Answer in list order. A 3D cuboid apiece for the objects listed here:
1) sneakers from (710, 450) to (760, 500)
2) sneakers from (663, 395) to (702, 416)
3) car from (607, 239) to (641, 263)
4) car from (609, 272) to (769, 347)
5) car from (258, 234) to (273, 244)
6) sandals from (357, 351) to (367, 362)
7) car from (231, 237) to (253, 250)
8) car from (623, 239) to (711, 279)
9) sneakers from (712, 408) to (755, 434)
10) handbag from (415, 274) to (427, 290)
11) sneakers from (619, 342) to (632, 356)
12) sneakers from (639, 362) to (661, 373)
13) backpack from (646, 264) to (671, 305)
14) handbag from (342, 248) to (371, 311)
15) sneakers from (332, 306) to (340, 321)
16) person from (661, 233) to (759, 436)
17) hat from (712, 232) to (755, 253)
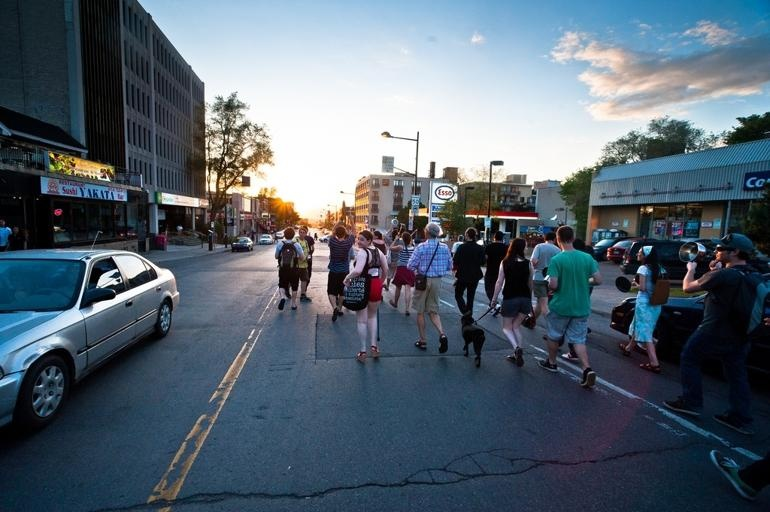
[{"bbox_3d":[4.361,2.716,6.037,0.229,0.263,0.654,7,31,-27],"label":"sneakers"},{"bbox_3d":[4.524,2.251,7.180,0.196,0.245,0.499,0,4,-36],"label":"sneakers"},{"bbox_3d":[11.568,-0.272,22.945,2.225,0.888,1.063,-5,8,-16],"label":"car"},{"bbox_3d":[5.946,1.118,9.047,3.008,1.118,1.403,2,1,18],"label":"car"},{"bbox_3d":[-14.737,-1.792,58.730,1.144,0.917,2.709,0,17,-5],"label":"car"},{"bbox_3d":[-0.427,1.834,8.692,0.099,0.156,0.218,1,9,-16],"label":"sandals"},{"bbox_3d":[-12.217,-1.038,40.615,1.198,1.087,2.184,1,6,3],"label":"car"},{"bbox_3d":[8.156,0.099,13.752,2.795,1.276,1.431,-2,4,-1],"label":"car"},{"bbox_3d":[5.088,2.406,7.021,0.207,0.243,0.584,5,8,-24],"label":"sneakers"},{"bbox_3d":[0.681,0.478,8.996,0.264,0.371,0.238,0,1,2],"label":"handbag"},{"bbox_3d":[4.802,1.862,9.455,0.117,0.254,0.265,3,38,4],"label":"sneakers"},{"bbox_3d":[4.823,2.011,8.631,0.130,0.146,0.328,-4,9,-39],"label":"sneakers"},{"bbox_3d":[4.835,0.513,8.414,0.661,0.913,0.339,-4,5,-43],"label":"backpack"},{"bbox_3d":[-0.488,0.437,8.436,0.469,1.139,0.222,0,6,-2],"label":"handbag"},{"bbox_3d":[-1.134,1.354,11.212,0.129,0.307,0.197,11,2,-13],"label":"sneakers"},{"bbox_3d":[4.935,1.074,7.030,1.031,2.846,0.602,4,6,26],"label":"person"},{"bbox_3d":[5.108,-0.214,6.908,0.288,0.229,0.411,-8,14,-40],"label":"hat"}]
